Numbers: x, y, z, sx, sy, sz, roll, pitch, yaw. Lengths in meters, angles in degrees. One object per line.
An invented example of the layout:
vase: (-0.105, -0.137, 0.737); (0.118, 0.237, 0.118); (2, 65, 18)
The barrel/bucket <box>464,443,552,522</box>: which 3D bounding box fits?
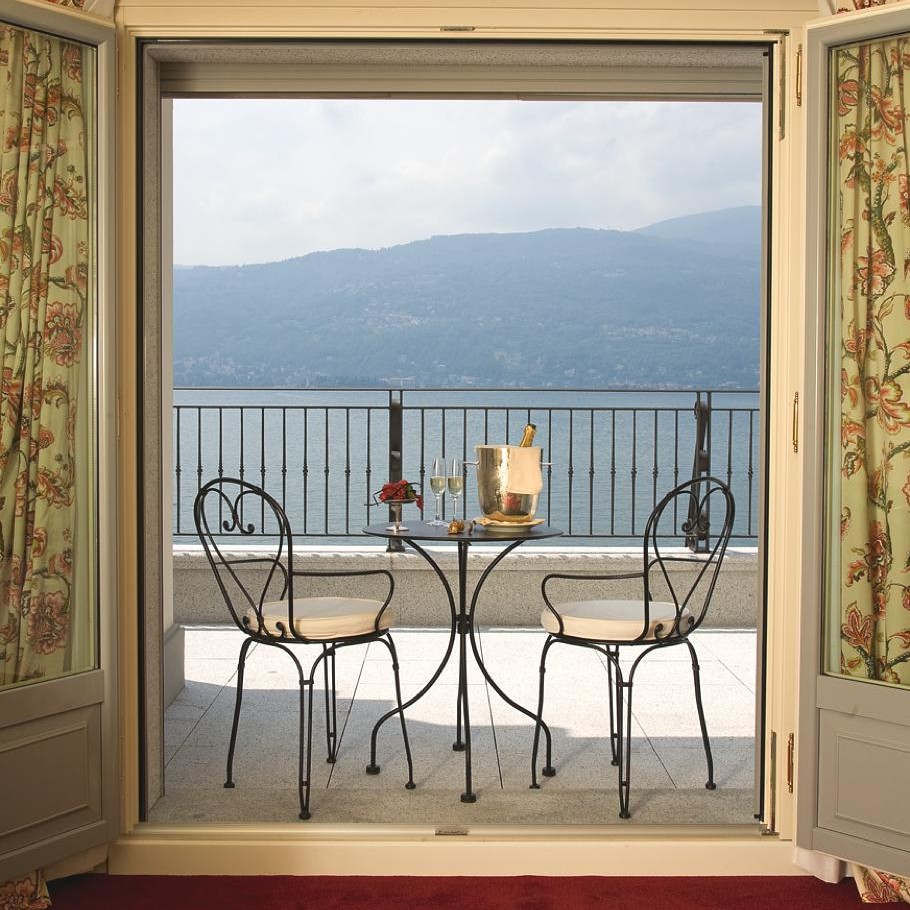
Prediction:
barrel/bucket: (0.159, 0.083, 3.330); (0.194, 0.236, 0.160); (-1, 7, 2)
